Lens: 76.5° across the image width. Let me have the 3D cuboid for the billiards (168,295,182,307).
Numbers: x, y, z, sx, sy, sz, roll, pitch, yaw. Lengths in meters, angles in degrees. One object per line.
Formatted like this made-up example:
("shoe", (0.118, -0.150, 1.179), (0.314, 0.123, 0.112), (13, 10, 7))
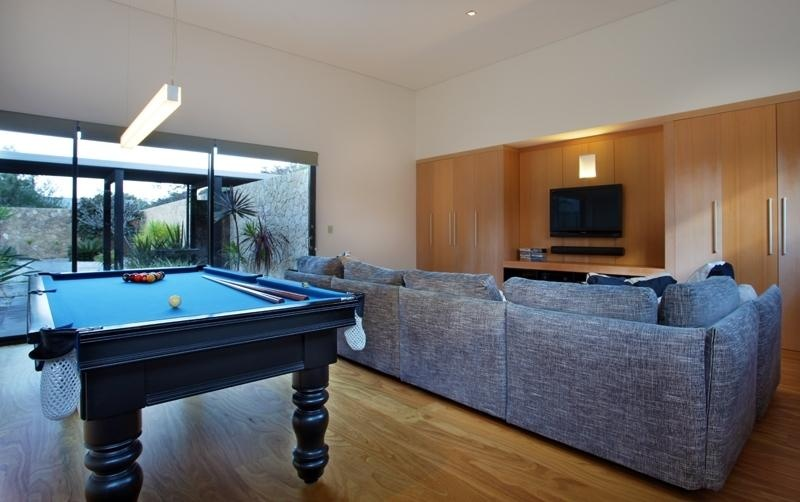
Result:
("billiards", (-1.737, 0.364, 3.917), (0.089, 0.101, 0.090), (4, 5, 23))

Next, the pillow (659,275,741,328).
("pillow", (2.465, 0.402, 4.175), (0.866, 0.330, 0.319), (-6, 12, -35))

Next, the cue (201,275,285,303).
("cue", (-1.345, 0.314, 4.323), (0.641, 0.062, 0.052), (12, 37, 35))
